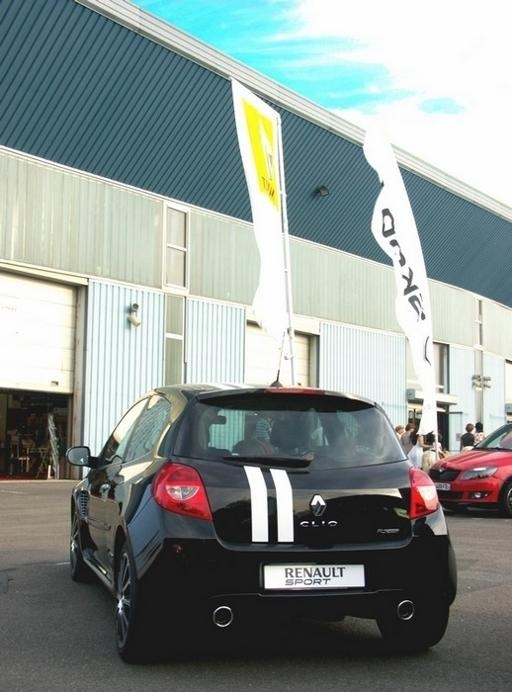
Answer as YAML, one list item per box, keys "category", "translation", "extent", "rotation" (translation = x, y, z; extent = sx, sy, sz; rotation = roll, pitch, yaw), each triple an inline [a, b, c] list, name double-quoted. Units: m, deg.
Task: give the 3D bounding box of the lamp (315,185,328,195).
- category: "lamp"
  translation: [2.883, -6.835, 26.101]
  extent: [0.328, 0.439, 0.444]
  rotation: [-3, 16, -4]

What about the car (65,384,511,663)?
- category: "car"
  translation: [-0.102, 0.684, 3.281]
  extent: [1.071, 0.859, 1.860]
  rotation: [2, -2, -12]

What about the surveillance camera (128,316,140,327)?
- category: "surveillance camera"
  translation: [-4.422, -0.876, 21.564]
  extent: [0.194, 0.353, 0.500]
  rotation: [-9, -12, 42]
